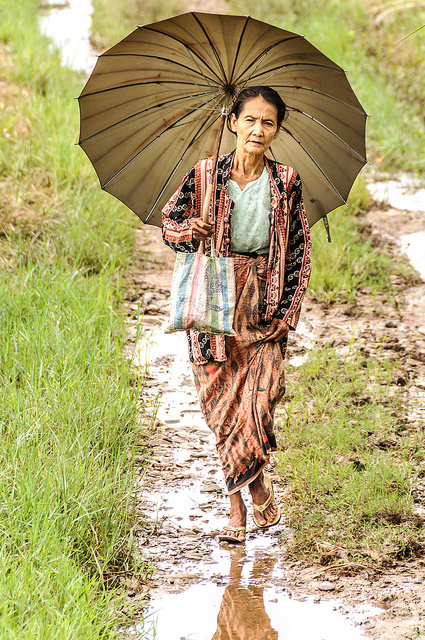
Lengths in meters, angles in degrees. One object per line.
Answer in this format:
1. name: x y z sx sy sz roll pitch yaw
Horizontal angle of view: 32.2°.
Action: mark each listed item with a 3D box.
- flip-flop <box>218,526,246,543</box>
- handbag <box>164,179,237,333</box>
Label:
1. flip-flop: 0.081 0.920 3.171 0.102 0.073 0.061 7 5 8
2. handbag: -0.029 -0.257 2.831 0.286 0.678 0.100 10 24 14
